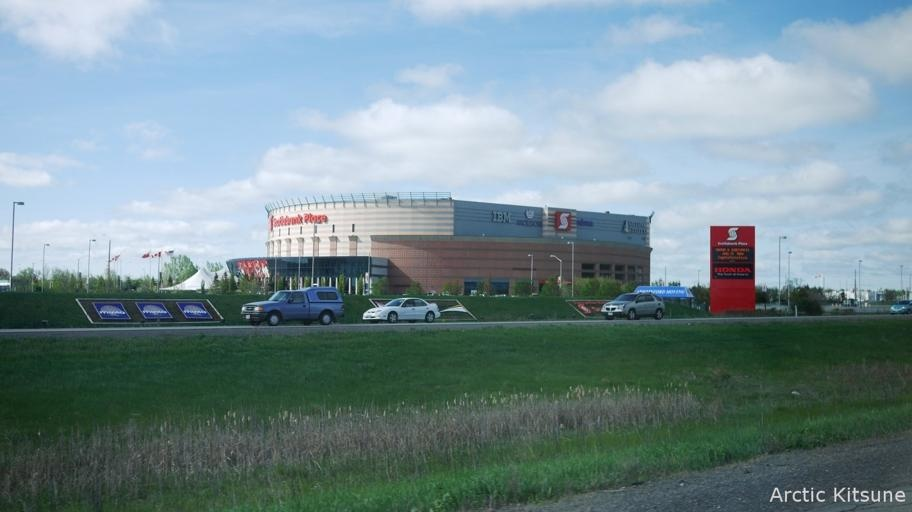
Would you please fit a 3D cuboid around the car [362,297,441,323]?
[{"bbox_3d":[-4.250,4.426,90.511,5.228,1.545,2.329,5,-8,-32],"label":"car"}]

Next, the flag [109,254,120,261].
[{"bbox_3d":[-18.884,0.108,63.159,0.279,0.295,0.532,-26,43,-35],"label":"flag"}]

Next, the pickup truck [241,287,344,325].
[{"bbox_3d":[-11.729,3.700,84.106,6.996,2.809,2.318,-1,-3,-43],"label":"pickup truck"}]

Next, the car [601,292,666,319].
[{"bbox_3d":[15.006,4.271,97.239,5.000,1.550,2.094,-1,-2,-37],"label":"car"}]
